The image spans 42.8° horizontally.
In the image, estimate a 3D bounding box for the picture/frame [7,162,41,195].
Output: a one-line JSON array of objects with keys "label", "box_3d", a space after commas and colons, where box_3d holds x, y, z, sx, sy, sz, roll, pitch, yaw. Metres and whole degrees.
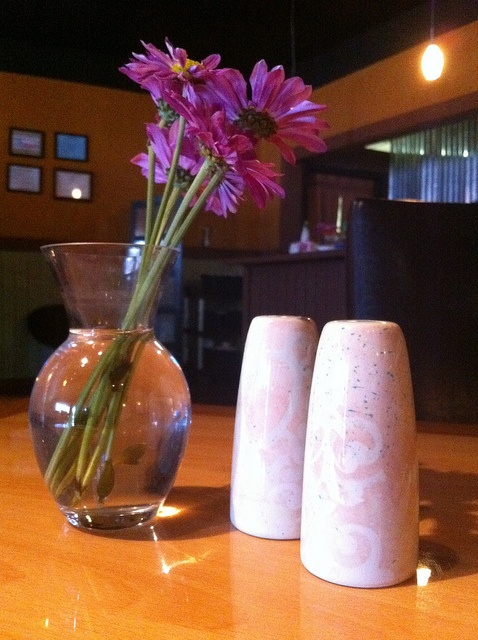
[{"label": "picture/frame", "box_3d": [-1.698, -1.112, 4.847, 0.259, 0.205, 0.033, -1, 2, -37]}]

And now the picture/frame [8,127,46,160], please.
[{"label": "picture/frame", "box_3d": [-1.698, -1.400, 4.860, 0.256, 0.252, 0.028, 5, -9, -34]}]

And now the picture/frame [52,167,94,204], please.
[{"label": "picture/frame", "box_3d": [-1.392, -1.116, 5.066, 0.296, 0.238, 0.042, -3, 6, -43]}]
